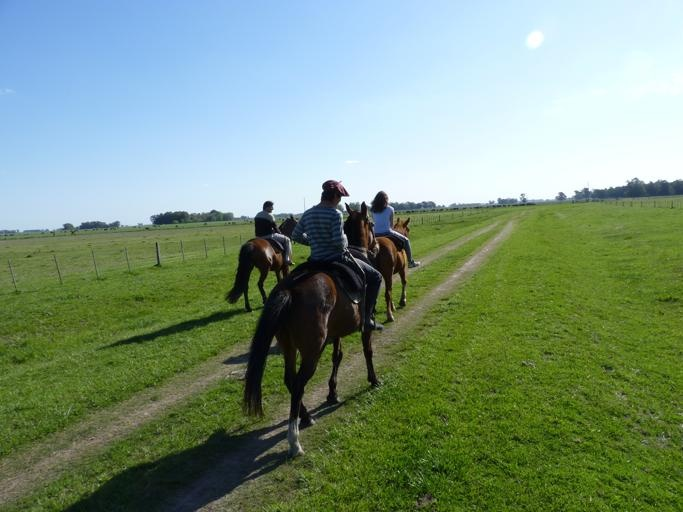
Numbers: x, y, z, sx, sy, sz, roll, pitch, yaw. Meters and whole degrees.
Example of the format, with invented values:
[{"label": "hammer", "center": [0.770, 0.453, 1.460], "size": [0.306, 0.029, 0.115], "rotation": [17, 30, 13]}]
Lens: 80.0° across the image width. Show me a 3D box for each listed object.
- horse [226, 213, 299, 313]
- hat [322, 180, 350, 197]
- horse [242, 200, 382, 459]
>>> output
[{"label": "horse", "center": [-3.460, 0.382, 19.517], "size": [1.265, 4.186, 5.701], "rotation": [8, 9, 20]}, {"label": "hat", "center": [-0.162, -1.681, 10.084], "size": [0.574, 0.389, 0.470], "rotation": [-5, 15, -6]}, {"label": "horse", "center": [-0.803, 1.543, 9.725], "size": [1.478, 5.154, 3.544], "rotation": [6, 17, 36]}]
